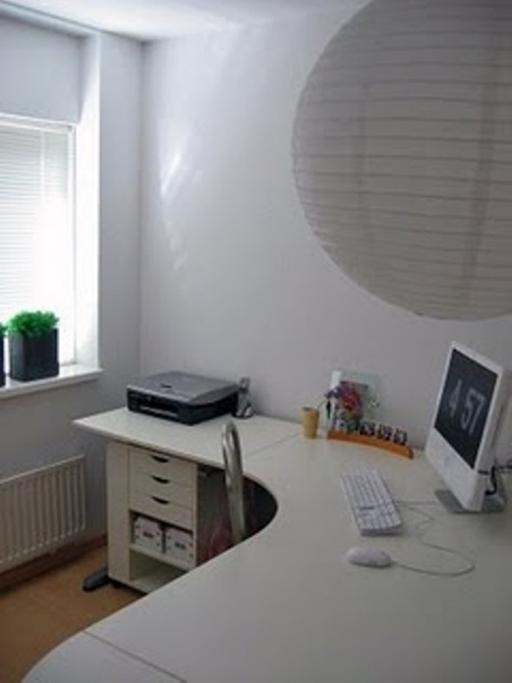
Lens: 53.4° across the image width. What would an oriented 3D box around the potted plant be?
[{"bbox_3d":[-0.923,0.023,2.105,0.201,0.292,0.150,-1,4,-25],"label":"potted plant"}]
